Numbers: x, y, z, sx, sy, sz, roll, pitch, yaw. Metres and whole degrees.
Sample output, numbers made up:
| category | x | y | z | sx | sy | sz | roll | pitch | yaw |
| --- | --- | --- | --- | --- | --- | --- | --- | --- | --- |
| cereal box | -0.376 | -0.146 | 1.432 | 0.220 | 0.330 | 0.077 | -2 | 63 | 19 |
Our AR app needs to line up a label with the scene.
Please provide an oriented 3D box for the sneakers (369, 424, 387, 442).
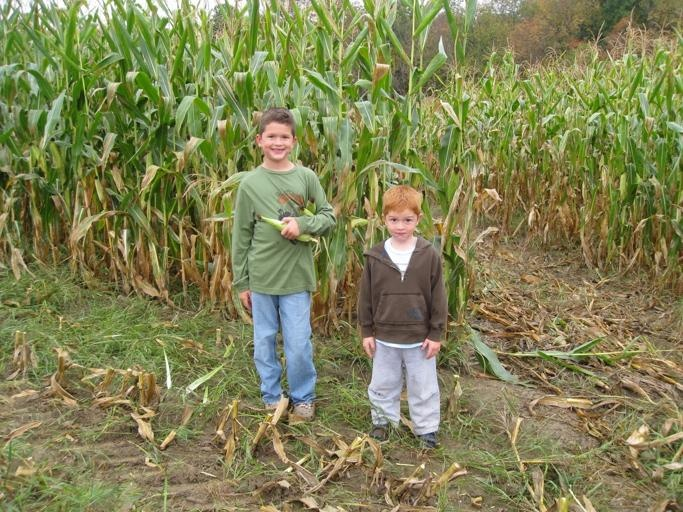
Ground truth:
| category | x | y | z | sx | sy | sz | roll | pitch | yaw |
| --- | --- | --- | --- | --- | --- | --- | --- | --- | --- |
| sneakers | 0.240 | 1.157 | 3.882 | 0.055 | 0.074 | 0.157 | 4 | 11 | 27 |

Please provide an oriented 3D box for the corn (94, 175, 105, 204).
| category | x | y | z | sx | sy | sz | roll | pitch | yaw |
| --- | --- | --- | --- | --- | --- | --- | --- | --- | --- |
| corn | -2.110 | -0.568 | 5.212 | 0.068 | 0.212 | 0.134 | -10 | 19 | -22 |

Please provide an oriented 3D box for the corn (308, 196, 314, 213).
| category | x | y | z | sx | sy | sz | roll | pitch | yaw |
| --- | --- | --- | --- | --- | --- | --- | --- | --- | --- |
| corn | -0.207 | -0.350 | 4.047 | 0.061 | 0.099 | 0.022 | -14 | 9 | -42 |

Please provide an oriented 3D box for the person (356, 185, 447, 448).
| category | x | y | z | sx | sy | sz | roll | pitch | yaw |
| --- | --- | --- | --- | --- | --- | --- | --- | --- | --- |
| person | 0.385 | 0.396 | 3.787 | 0.545 | 1.610 | 0.405 | 1 | 18 | 9 |

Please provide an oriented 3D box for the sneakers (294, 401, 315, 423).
| category | x | y | z | sx | sy | sz | roll | pitch | yaw |
| --- | --- | --- | --- | --- | --- | --- | --- | --- | --- |
| sneakers | -0.252 | 1.066 | 4.017 | 0.095 | 0.087 | 0.191 | 0 | -10 | -5 |

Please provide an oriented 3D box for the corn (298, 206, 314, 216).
| category | x | y | z | sx | sy | sz | roll | pitch | yaw |
| --- | --- | --- | --- | --- | --- | --- | --- | --- | --- |
| corn | -0.243 | -0.300 | 3.992 | 0.137 | 0.050 | 0.035 | 21 | 0 | 17 |

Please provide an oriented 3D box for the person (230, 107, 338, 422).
| category | x | y | z | sx | sy | sz | roll | pitch | yaw |
| --- | --- | --- | --- | --- | --- | --- | --- | --- | --- |
| person | -0.389 | 0.070 | 3.956 | 0.689 | 2.018 | 0.594 | -3 | 18 | -2 |
